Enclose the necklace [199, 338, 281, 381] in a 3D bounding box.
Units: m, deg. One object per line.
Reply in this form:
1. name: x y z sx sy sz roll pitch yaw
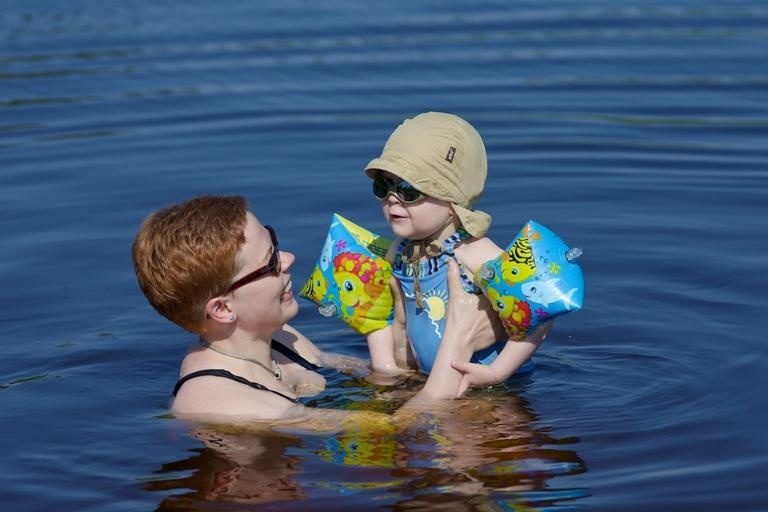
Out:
1. necklace: -1.396 1.064 11.468 0.662 0.076 0.487 26 -12 -25
